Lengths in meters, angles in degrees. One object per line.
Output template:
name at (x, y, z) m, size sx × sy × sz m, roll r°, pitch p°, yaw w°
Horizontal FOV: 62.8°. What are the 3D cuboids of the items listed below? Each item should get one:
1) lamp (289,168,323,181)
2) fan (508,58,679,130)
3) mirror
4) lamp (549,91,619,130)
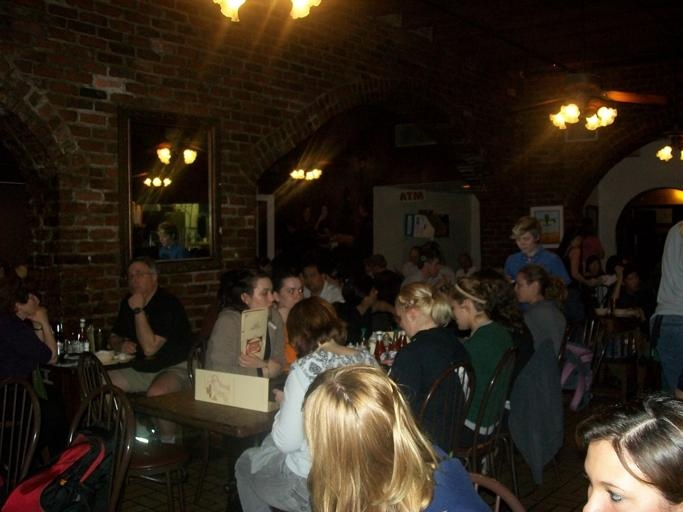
lamp at (-0.804, -1.846, 12.549) m, size 0.527 × 0.333 × 0.184 m, roll -1°, pitch -7°, yaw 10°
fan at (3.760, -2.403, 8.148) m, size 1.331 × 0.495 × 1.304 m, roll 9°, pitch -7°, yaw -35°
mirror at (-1.602, -0.636, 5.234) m, size 0.123 × 1.476 × 1.000 m, roll 1°, pitch 0°, yaw 41°
lamp at (3.123, -1.857, 7.479) m, size 0.797 × 0.253 × 0.805 m, roll 3°, pitch -7°, yaw -23°
